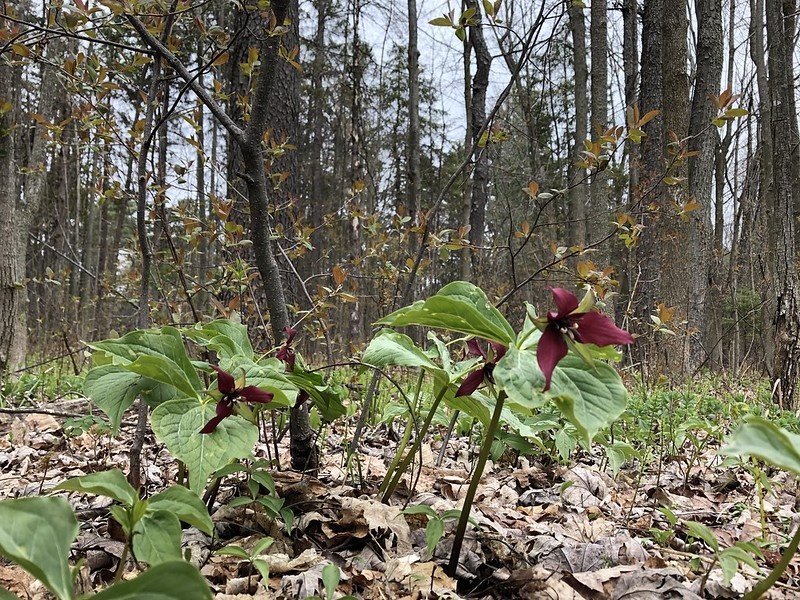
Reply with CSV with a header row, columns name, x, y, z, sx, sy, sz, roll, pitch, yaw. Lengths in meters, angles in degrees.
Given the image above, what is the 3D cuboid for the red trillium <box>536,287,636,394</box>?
name,x,y,z,sx,sy,sz,roll,pitch,yaw
red trillium,1.389,0.302,6.476,0.720,0.759,0.246,34,1,-3

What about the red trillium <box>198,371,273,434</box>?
name,x,y,z,sx,sy,sz,roll,pitch,yaw
red trillium,-1.313,0.779,6.439,0.493,0.509,0.167,36,-14,0
